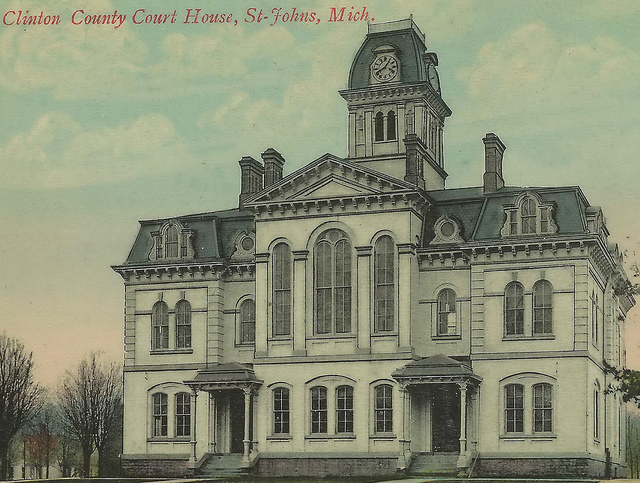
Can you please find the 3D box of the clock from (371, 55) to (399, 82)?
[{"bbox_3d":[3.827,-10.229,103.532,1.983,1.688,0.226,1,-20,8],"label":"clock"}]
